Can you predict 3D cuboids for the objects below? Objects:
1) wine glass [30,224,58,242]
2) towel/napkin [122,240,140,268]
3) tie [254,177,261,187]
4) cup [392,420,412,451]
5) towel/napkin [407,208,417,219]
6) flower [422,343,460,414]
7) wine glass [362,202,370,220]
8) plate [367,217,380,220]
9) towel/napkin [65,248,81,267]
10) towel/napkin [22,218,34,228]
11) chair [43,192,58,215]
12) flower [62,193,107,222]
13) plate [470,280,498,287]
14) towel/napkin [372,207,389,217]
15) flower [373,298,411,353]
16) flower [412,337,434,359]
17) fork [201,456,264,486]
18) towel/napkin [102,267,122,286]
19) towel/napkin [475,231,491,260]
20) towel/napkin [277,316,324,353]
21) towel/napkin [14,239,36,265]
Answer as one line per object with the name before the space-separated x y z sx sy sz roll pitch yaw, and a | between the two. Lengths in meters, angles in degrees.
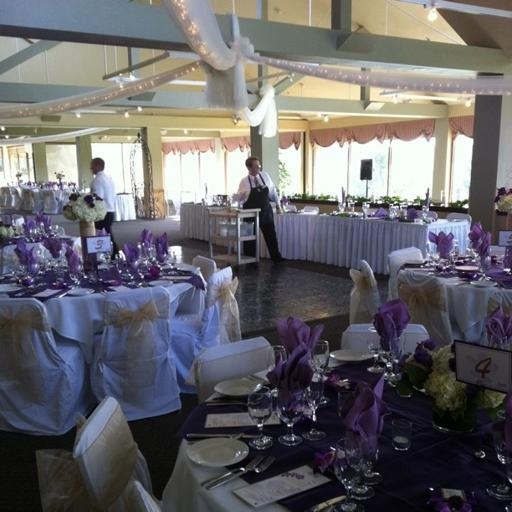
wine glass | -2.722 -0.314 5.512 0.295 0.193 0.406 -1 -3 -29
towel/napkin | -0.998 -0.014 3.410 0.068 0.234 0.133 -3 5 19
tie | 0.033 -1.335 7.621 0.102 0.188 0.026 -2 10 -11
cup | 0.432 0.517 1.282 0.054 0.083 0.071 0 1 0
towel/napkin | 2.394 -0.679 6.637 0.120 0.065 0.130 -1 -5 17
flower | 0.558 0.361 1.343 0.077 0.122 0.150 -27 31 29
wine glass | 1.864 -0.816 7.344 0.085 0.244 0.616 2 11 12
plate | 1.919 -0.648 7.065 0.194 0.031 0.325 4 11 19
towel/napkin | -1.383 -0.001 3.273 0.089 0.088 0.164 -16 56 -23
towel/napkin | -2.957 -0.449 5.616 0.069 0.162 0.083 -32 -36 23
chair | -7.539 -2.023 15.781 0.884 0.804 0.345 7 11 32
flower | -1.644 -0.464 4.129 0.248 0.286 0.351 1 5 0
plate | 1.653 0.176 3.144 0.171 0.022 0.211 6 12 28
towel/napkin | 2.074 -0.754 7.202 0.229 0.143 0.336 3 11 15
flower | 0.499 0.231 1.591 0.146 0.183 0.070 3 8 37
flower | 0.549 0.292 1.417 0.034 0.051 0.076 7 -34 -16
fork | -0.064 0.569 1.161 0.051 0.023 0.204 8 10 36
towel/napkin | -1.184 0.135 3.485 0.149 0.061 0.169 -1 28 -11
towel/napkin | 1.845 -0.110 3.506 0.106 0.204 0.233 4 11 20
towel/napkin | 0.145 0.249 1.443 0.111 0.145 0.052 4 19 -9
towel/napkin | -1.770 -0.041 3.305 0.108 0.155 0.267 -7 13 -37
